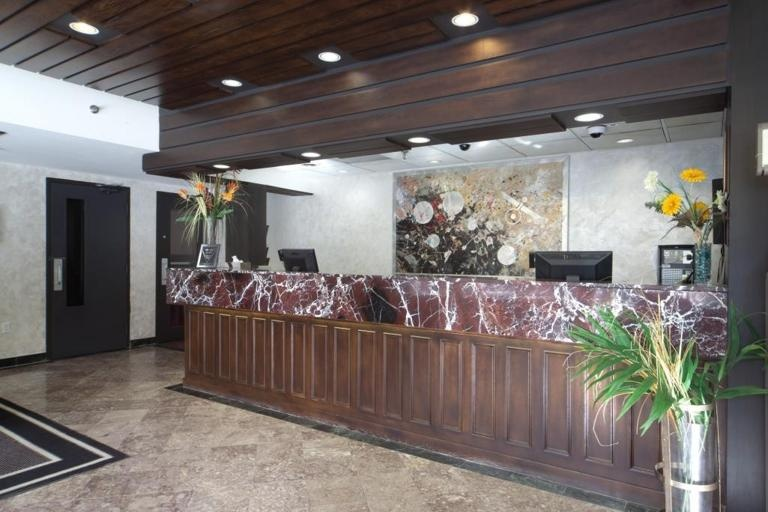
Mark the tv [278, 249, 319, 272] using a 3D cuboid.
[{"bbox_3d":[-1.040,0.048,5.771,0.348,0.273,0.651,-2,7,-19],"label":"tv"}]

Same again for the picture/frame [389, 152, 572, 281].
[{"bbox_3d":[1.504,-0.575,7.850,3.327,1.684,0.027,-4,13,-22],"label":"picture/frame"}]

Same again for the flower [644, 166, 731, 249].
[{"bbox_3d":[2.525,-0.321,3.928,0.426,0.398,0.424,3,-8,1],"label":"flower"}]

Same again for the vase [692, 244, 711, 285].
[{"bbox_3d":[2.578,0.054,3.877,0.133,0.328,0.116,1,8,5],"label":"vase"}]

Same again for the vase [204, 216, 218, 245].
[{"bbox_3d":[-2.178,-0.318,6.009,0.160,0.337,0.087,-2,8,-17],"label":"vase"}]

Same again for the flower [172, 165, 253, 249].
[{"bbox_3d":[-2.089,-0.526,6.049,0.582,0.600,0.584,-16,-27,42],"label":"flower"}]

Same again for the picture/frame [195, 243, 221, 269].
[{"bbox_3d":[-2.286,-0.004,6.236,0.475,0.467,0.058,0,-6,17],"label":"picture/frame"}]
